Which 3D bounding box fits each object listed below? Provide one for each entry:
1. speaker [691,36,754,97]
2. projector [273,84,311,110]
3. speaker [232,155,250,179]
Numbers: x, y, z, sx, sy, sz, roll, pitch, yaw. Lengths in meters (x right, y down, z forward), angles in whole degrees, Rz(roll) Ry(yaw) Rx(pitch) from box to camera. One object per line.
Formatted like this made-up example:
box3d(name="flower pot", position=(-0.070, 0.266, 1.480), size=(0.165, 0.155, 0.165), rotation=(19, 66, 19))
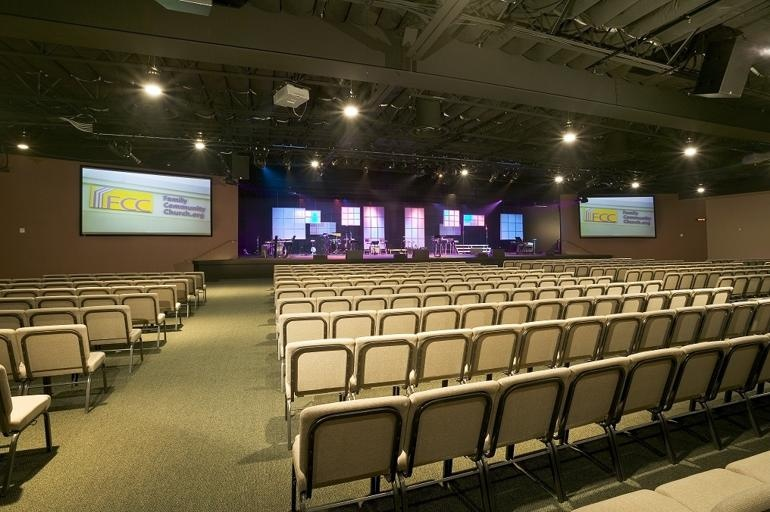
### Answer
box3d(name="speaker", position=(6.262, -3.298, 8.798), size=(0.523, 0.977, 0.719), rotation=(9, 12, -31))
box3d(name="projector", position=(-2.106, -3.571, 10.919), size=(0.725, 0.375, 0.560), rotation=(1, 6, 39))
box3d(name="speaker", position=(-5.689, -3.548, 19.297), size=(0.405, 0.894, 0.881), rotation=(1, 5, 34))
